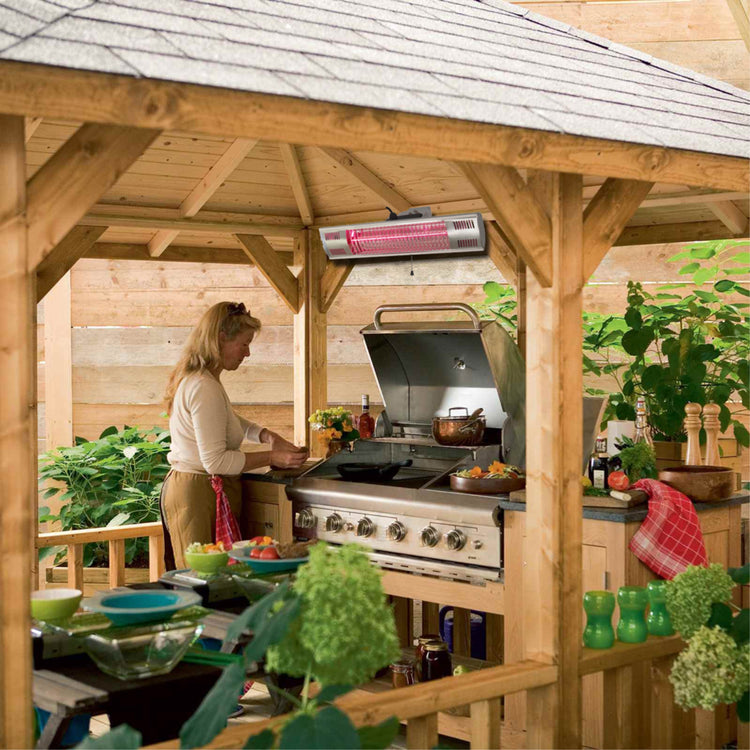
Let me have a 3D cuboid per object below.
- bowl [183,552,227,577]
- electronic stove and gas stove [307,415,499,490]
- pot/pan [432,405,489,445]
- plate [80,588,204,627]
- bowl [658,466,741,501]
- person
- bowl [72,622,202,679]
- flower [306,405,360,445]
[{"bbox_3d":[-0.578,0.639,2.701,0.131,0.053,0.110,-2,3,-6],"label":"bowl"},{"bbox_3d":[0.142,0.490,4.187,1.024,0.311,0.601,-2,26,8],"label":"electronic stove and gas stove"},{"bbox_3d":[0.410,0.240,3.932,0.209,0.134,0.243,-3,3,-21],"label":"pot/pan"},{"bbox_3d":[-0.618,0.638,2.162,0.284,0.077,0.264,-2,-6,-9],"label":"plate"},{"bbox_3d":[1.365,0.452,3.287,0.364,0.155,0.151,0,-8,-20],"label":"bowl"},{"bbox_3d":[-0.793,0.291,4.227,0.727,1.411,0.534,0,-1,19],"label":"person"},{"bbox_3d":[-0.614,0.743,2.118,0.278,0.088,0.189,1,-4,-40],"label":"bowl"},{"bbox_3d":[-0.240,0.291,4.692,0.277,0.176,0.255,1,4,18],"label":"flower"}]
